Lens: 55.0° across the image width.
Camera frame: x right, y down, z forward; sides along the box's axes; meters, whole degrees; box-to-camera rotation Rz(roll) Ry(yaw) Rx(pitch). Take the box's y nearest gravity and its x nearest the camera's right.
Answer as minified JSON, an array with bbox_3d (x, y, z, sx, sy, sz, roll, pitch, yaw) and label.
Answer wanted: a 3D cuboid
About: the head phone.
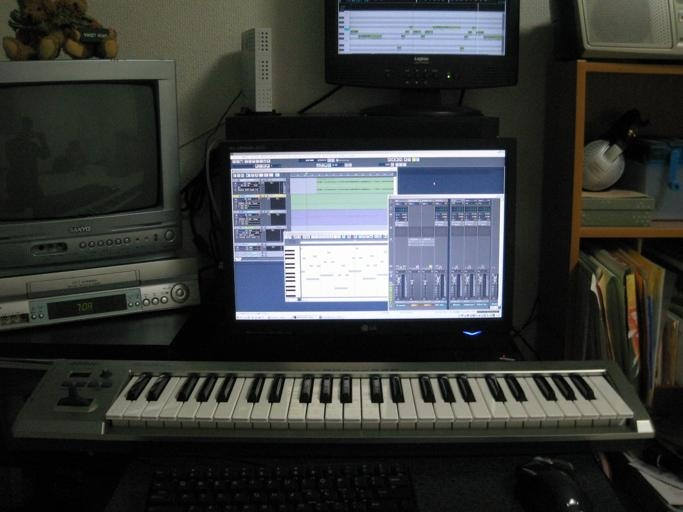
[{"bbox_3d":[0.708,-0.272,1.755,0.118,0.229,0.131,-2,18,-4],"label":"head phone"}]

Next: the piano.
[{"bbox_3d":[-0.018,0.304,1.385,1.298,0.183,0.176,-4,19,1],"label":"piano"}]

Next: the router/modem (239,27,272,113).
[{"bbox_3d":[-0.223,-0.488,1.707,0.083,0.262,0.228,-2,8,-12],"label":"router/modem"}]
